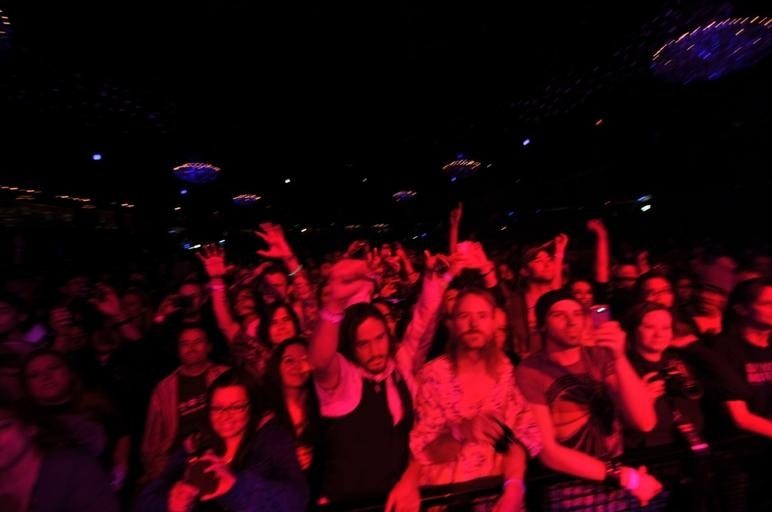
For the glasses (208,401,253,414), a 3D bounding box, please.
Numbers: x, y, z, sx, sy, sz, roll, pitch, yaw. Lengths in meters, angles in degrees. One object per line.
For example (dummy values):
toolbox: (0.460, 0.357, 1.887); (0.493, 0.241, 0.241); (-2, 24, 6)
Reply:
glasses: (-1.486, 1.470, 5.167); (0.376, 0.092, 0.031); (-1, -3, 0)
